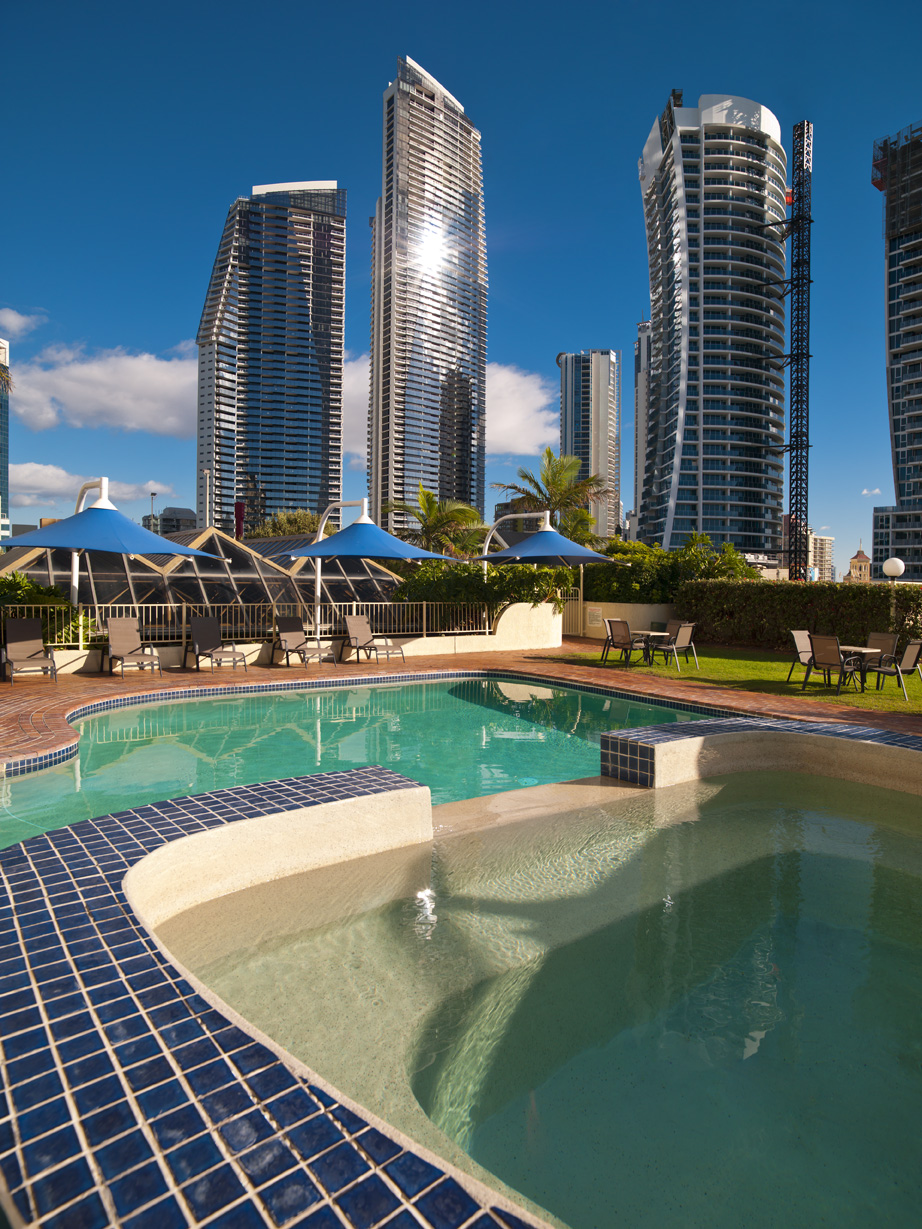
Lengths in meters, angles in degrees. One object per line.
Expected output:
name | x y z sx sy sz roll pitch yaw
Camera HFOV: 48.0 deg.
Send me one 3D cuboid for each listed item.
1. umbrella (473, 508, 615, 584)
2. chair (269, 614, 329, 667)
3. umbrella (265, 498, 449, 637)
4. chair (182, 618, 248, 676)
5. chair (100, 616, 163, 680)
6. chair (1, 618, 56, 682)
umbrella | 1.720 -1.447 20.986 1.971 1.281 3.742 8 6 4
chair | -2.796 0.442 17.736 0.629 0.732 1.021 -3 7 -32
umbrella | -1.932 -1.143 17.687 2.576 1.779 2.611 6 7 45
chair | -3.995 0.456 16.455 0.626 0.743 1.015 -3 10 -37
chair | -4.941 0.499 15.595 0.562 0.851 0.932 -2 4 -34
chair | -5.807 0.440 14.007 0.578 0.689 0.974 -2 6 -36
